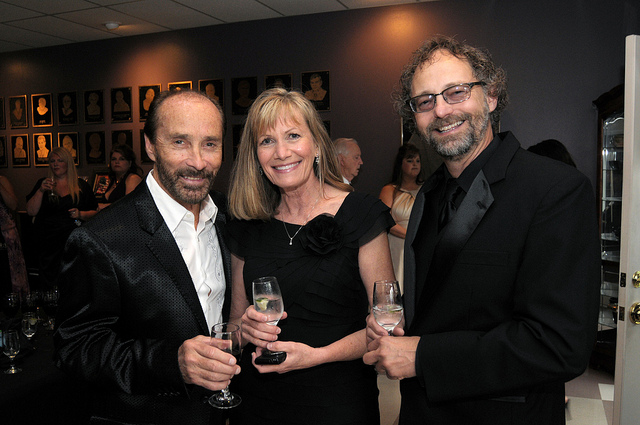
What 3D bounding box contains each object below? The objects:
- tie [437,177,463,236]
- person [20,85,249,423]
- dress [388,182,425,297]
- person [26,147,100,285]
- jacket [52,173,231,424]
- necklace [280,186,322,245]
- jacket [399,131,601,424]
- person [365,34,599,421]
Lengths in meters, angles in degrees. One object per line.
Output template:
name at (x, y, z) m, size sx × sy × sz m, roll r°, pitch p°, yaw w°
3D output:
tie at (0.655, -0.047, 2.469) m, size 0.091 × 0.338 × 0.094 m, roll 27°, pitch -19°, yaw -21°
person at (-0.919, 0.305, 2.571) m, size 0.926 × 1.891 × 0.647 m, roll -5°, pitch 7°, yaw -4°
dress at (1.117, 0.304, 6.379) m, size 0.566 × 1.690 × 0.465 m, roll -11°, pitch 35°, yaw -8°
person at (-3.499, 0.270, 6.565) m, size 0.893 × 2.236 × 0.631 m, roll -4°, pitch 23°, yaw -38°
jacket at (-0.978, 0.503, 2.519) m, size 0.740 × 1.254 × 0.410 m, roll -2°, pitch 8°, yaw 16°
necklace at (-0.104, 0.017, 2.879) m, size 0.116 × 0.017 × 0.399 m, roll 4°, pitch 41°, yaw 12°
jacket at (0.837, 0.357, 2.289) m, size 0.889 × 1.342 × 0.372 m, roll -3°, pitch 7°, yaw 9°
person at (0.768, 0.075, 2.328) m, size 0.995 × 1.912 × 0.675 m, roll 0°, pitch 9°, yaw 31°
